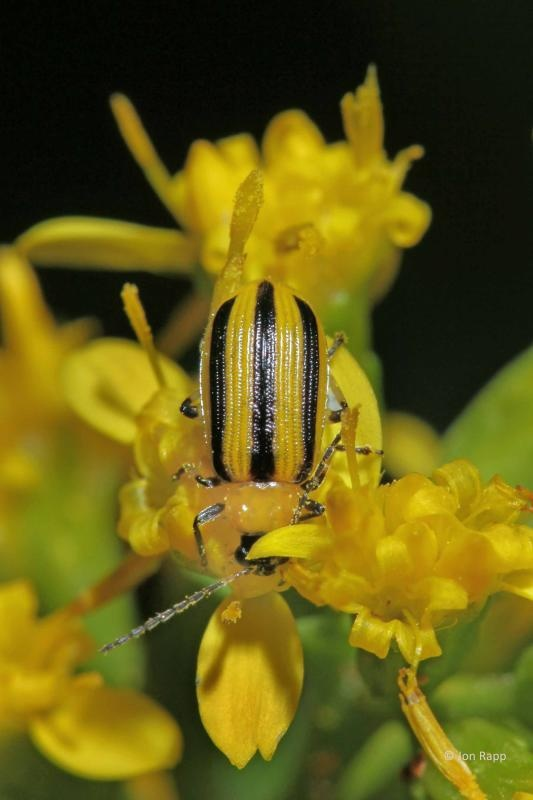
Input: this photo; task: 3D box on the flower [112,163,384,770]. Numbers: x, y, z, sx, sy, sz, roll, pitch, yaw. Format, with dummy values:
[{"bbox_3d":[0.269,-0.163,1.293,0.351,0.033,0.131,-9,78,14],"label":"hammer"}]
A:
[{"bbox_3d":[0.018,0.074,1.008,0.179,0.445,0.600,6,73,-42],"label":"flower"}]
